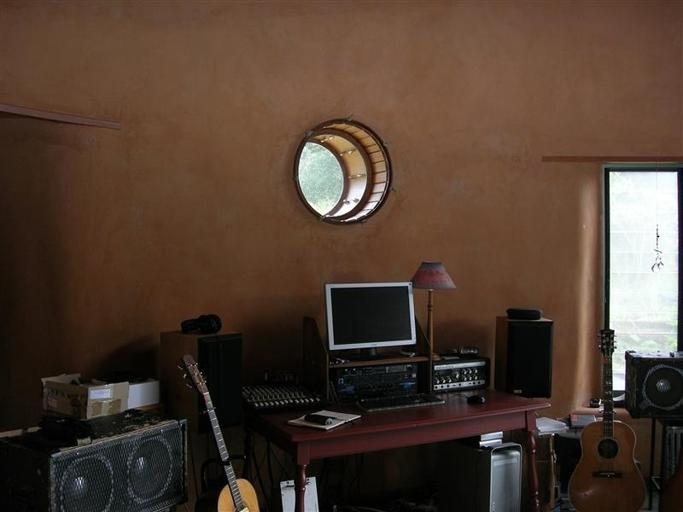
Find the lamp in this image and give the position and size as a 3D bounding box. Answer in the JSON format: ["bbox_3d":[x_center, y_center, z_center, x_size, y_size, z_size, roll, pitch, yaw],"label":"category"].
[{"bbox_3d":[0.650,0.494,4.701,0.295,0.809,0.488,2,-1,9],"label":"lamp"}]

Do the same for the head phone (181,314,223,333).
[{"bbox_3d":[-0.897,0.442,4.120,0.184,0.099,0.158,-4,-3,-6],"label":"head phone"}]

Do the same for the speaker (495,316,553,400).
[{"bbox_3d":[1.317,0.703,4.714,0.412,0.527,0.272,2,-1,16],"label":"speaker"}]
